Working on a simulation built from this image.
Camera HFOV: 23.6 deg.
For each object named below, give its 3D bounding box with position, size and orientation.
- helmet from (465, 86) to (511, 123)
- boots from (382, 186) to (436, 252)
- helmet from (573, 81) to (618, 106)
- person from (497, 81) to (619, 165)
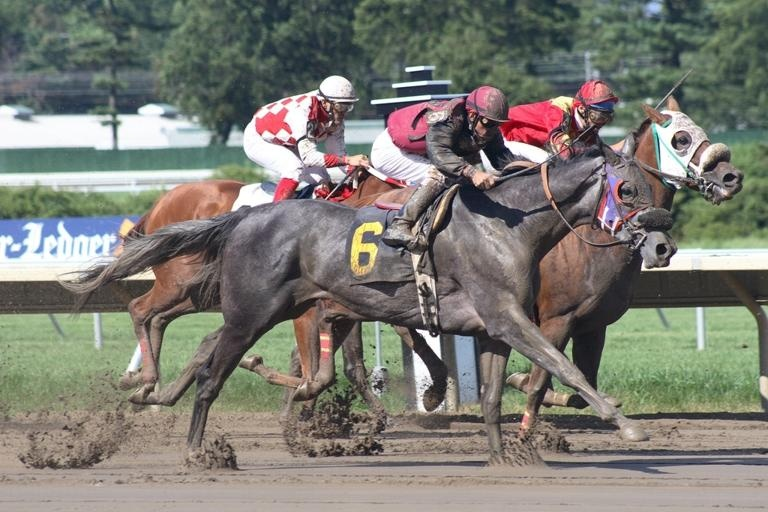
[{"bbox_3d":[1.270,-1.906,22.737,0.443,0.375,0.626,-16,23,-27],"label":"helmet"},{"bbox_3d":[0.369,-0.463,22.629,0.737,0.742,0.304,-9,17,-30],"label":"boots"},{"bbox_3d":[2.665,-2.045,23.295,0.447,0.220,0.312,1,3,10],"label":"helmet"},{"bbox_3d":[1.907,-1.627,23.655,2.031,1.020,1.466,0,2,18],"label":"person"}]
